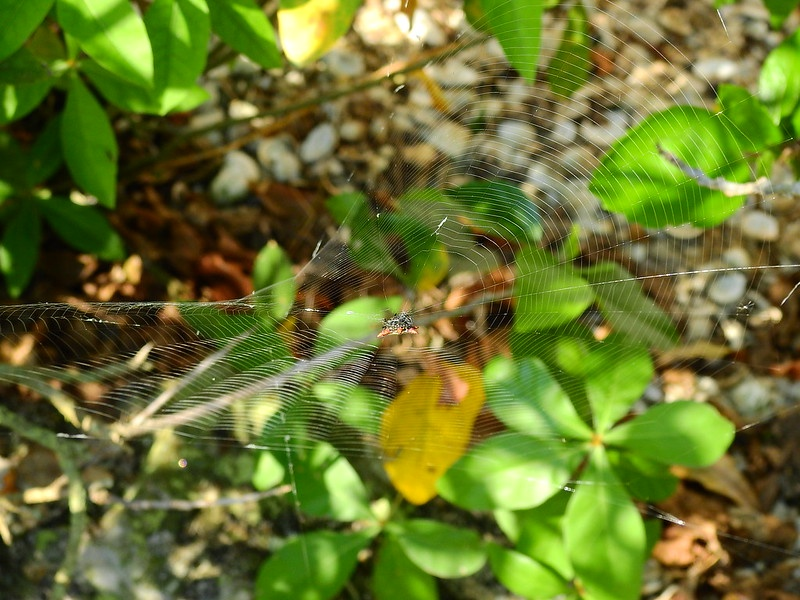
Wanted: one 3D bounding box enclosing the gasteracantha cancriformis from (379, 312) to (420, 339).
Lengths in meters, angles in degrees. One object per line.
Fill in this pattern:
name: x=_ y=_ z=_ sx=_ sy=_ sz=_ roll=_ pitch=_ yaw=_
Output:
gasteracantha cancriformis: x=-0.006 y=0.082 z=2.443 sx=0.093 sy=0.085 sz=0.036 roll=6 pitch=75 yaw=-25
